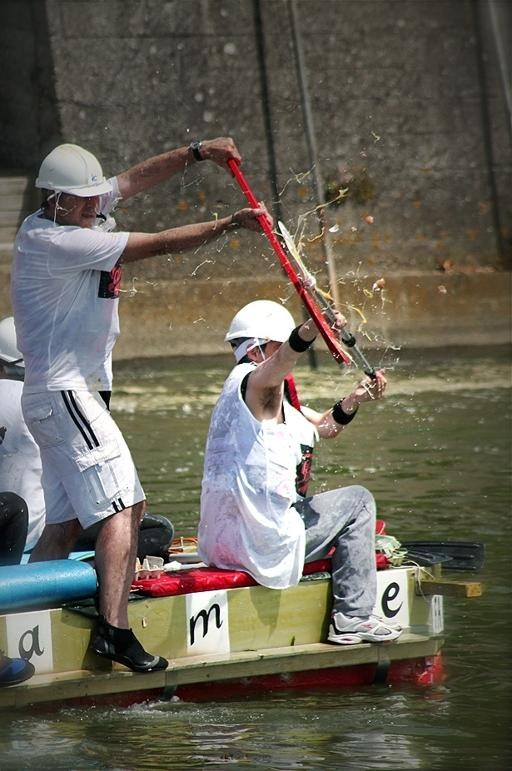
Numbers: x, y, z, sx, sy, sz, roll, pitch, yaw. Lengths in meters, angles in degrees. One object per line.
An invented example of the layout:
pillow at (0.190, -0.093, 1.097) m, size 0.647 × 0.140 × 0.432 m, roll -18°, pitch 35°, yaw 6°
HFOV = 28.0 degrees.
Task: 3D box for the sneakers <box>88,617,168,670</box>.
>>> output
sneakers at (-0.410, 0.889, 3.518) m, size 0.287 × 0.146 × 0.096 m, roll 10°, pitch 13°, yaw 24°

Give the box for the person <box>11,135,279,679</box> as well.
person at (-0.532, 0.007, 3.809) m, size 0.778 × 1.907 × 0.958 m, roll 3°, pitch 9°, yaw -3°

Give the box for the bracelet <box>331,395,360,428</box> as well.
bracelet at (0.368, 0.116, 4.444) m, size 0.108 × 0.112 × 0.119 m, roll 46°, pitch 15°, yaw 19°

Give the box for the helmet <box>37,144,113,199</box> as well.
helmet at (-0.668, -0.792, 3.743) m, size 0.250 × 0.155 × 0.309 m, roll -20°, pitch 34°, yaw -32°

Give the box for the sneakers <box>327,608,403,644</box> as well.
sneakers at (0.409, 0.923, 3.945) m, size 0.281 × 0.116 × 0.107 m, roll -1°, pitch 4°, yaw -8°
